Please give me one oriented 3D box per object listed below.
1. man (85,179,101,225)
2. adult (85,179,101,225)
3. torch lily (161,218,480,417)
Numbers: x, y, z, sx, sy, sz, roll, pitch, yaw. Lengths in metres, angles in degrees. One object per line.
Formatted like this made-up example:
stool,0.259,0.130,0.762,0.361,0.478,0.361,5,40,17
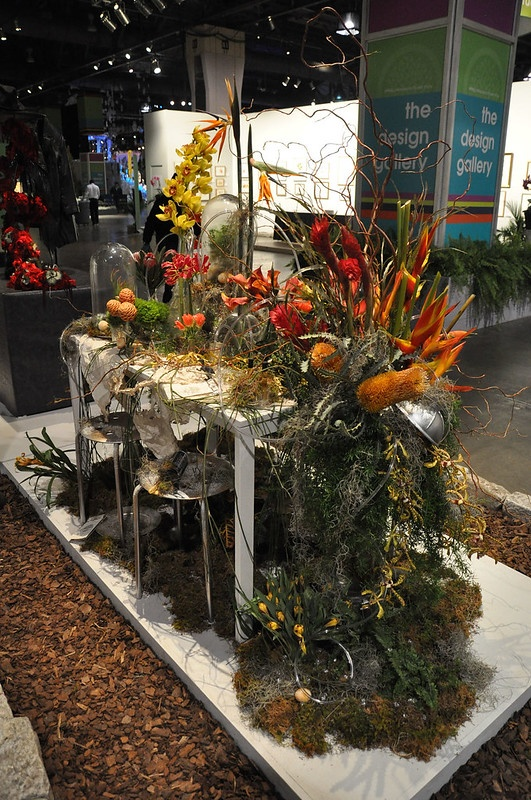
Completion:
man,-4.743,-5.293,15.261,0.303,1.156,0.594,-5,19,-20
adult,-4.743,-5.293,15.261,0.303,1.156,0.594,-5,19,-20
torch lily,0.141,-0.251,1.331,0.659,0.449,0.448,8,27,4
